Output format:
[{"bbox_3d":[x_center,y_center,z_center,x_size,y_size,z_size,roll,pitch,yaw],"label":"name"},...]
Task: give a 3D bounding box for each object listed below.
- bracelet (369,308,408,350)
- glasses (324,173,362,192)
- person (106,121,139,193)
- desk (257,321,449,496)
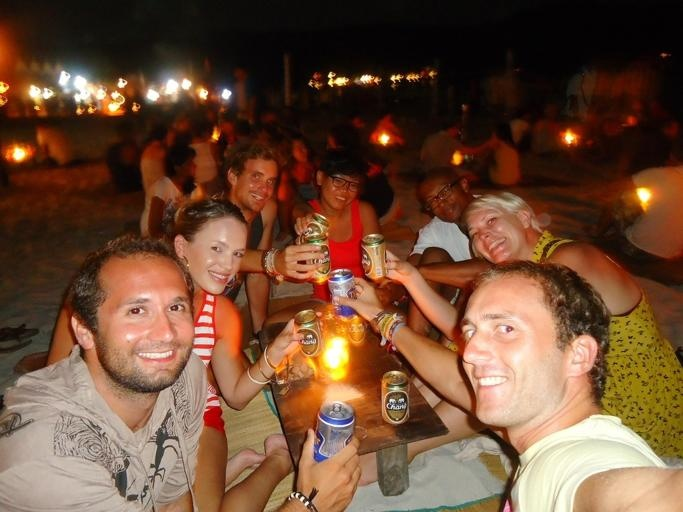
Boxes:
[{"bbox_3d":[0.311,0.528,3.229,0.271,0.259,0.135,-8,15,-34],"label":"bracelet"},{"bbox_3d":[0.015,-0.716,4.599,0.319,0.162,0.062,-1,15,-4],"label":"glasses"},{"bbox_3d":[-5.629,-2.509,11.960,0.771,1.759,1.373,-7,16,-24],"label":"person"},{"bbox_3d":[0.052,0.968,3.018,0.858,0.645,1.301,-11,40,-16],"label":"desk"}]
